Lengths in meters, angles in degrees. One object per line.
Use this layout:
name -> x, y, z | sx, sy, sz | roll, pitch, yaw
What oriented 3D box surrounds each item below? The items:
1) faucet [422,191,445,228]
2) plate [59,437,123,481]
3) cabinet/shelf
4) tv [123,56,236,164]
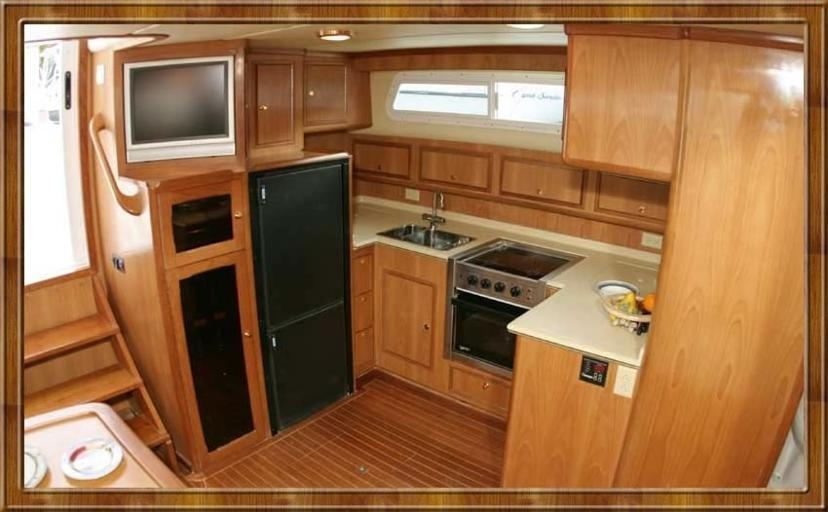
faucet -> 0.139, -0.345, 4.162 | 0.193, 0.295, 0.153 | 23, 34, 34
plate -> -1.186, 0.738, 2.018 | 0.197, 0.020, 0.183 | 12, 31, -7
cabinet/shelf -> 0.092, 0.067, 2.693 | 2.523, 1.477, 1.330 | 9, 15, 38
tv -> -0.960, -0.595, 2.207 | 0.423, 0.332, 0.040 | -8, 19, -30
